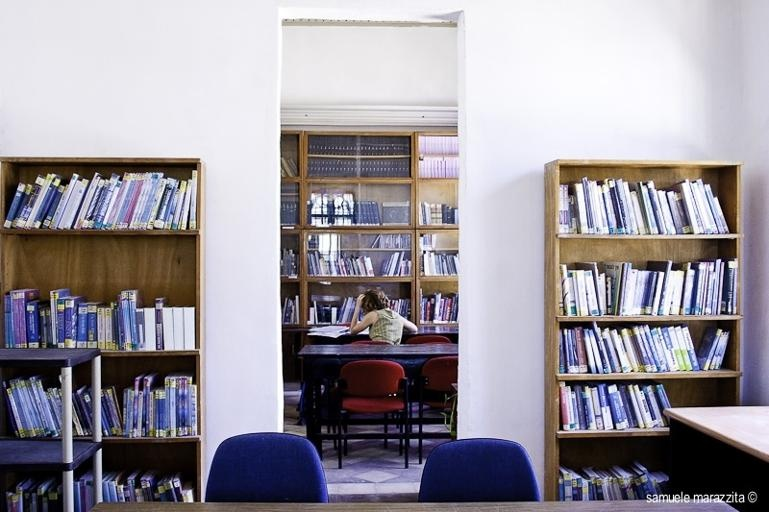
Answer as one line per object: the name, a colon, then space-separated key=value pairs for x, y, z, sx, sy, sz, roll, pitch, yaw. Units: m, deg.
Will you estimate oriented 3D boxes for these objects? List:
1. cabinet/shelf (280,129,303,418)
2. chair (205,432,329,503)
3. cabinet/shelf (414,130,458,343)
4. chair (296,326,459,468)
cabinet/shelf: x=-1.097 y=-0.067 z=8.685 sx=0.246 sy=2.659 sz=0.702 roll=1 pitch=-10 yaw=-6
chair: x=-0.681 y=1.342 z=4.478 sx=0.462 sy=0.591 sz=0.520 roll=-2 pitch=-29 yaw=1
cabinet/shelf: x=0.601 y=-0.315 z=8.609 sx=0.471 sy=2.177 sz=0.489 roll=-1 pitch=-10 yaw=2
chair: x=-0.105 y=1.450 z=6.640 sx=1.693 sy=1.083 sz=0.932 roll=0 pitch=-15 yaw=-1
